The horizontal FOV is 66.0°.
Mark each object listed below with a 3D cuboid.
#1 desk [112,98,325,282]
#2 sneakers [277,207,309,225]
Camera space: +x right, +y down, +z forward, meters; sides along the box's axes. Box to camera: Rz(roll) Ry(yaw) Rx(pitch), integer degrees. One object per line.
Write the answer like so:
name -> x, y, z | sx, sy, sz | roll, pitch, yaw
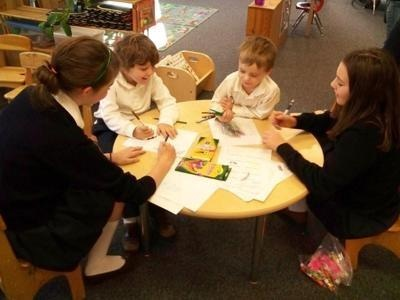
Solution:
desk -> 0.087, 0.087, 1.677 | 0.998, 0.662, 1.089 | 15, 42, 15
sneakers -> 0.668, 0.486, 2.231 | 0.165, 0.171, 0.104 | 21, 54, 27
